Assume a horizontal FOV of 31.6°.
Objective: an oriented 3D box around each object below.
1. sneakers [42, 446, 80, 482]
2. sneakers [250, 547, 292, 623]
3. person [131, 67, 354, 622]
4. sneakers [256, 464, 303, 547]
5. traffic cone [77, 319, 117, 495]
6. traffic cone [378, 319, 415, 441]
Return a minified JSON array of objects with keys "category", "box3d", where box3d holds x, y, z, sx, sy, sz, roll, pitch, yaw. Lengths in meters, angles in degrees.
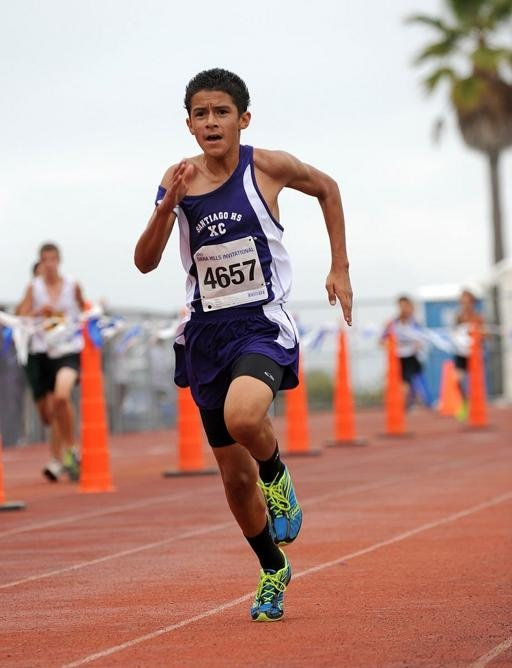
[{"category":"sneakers","box3d":[-1.574,1.051,7.315,0.426,0.267,0.134,-4,0,34]},{"category":"sneakers","box3d":[0.048,0.822,2.925,0.078,0.195,0.078,-3,-41,19]},{"category":"person","box3d":[0.061,-0.028,3.049,0.662,1.841,0.669,-5,0,-8]},{"category":"sneakers","box3d":[0.057,0.614,3.183,0.116,0.312,0.142,-17,5,17]},{"category":"traffic cone","box3d":[-1.232,0.577,6.689,0.253,1.173,0.306,-5,0,-10]},{"category":"traffic cone","box3d":[1.371,0.483,8.954,0.491,1.041,0.469,-4,1,-6]}]
